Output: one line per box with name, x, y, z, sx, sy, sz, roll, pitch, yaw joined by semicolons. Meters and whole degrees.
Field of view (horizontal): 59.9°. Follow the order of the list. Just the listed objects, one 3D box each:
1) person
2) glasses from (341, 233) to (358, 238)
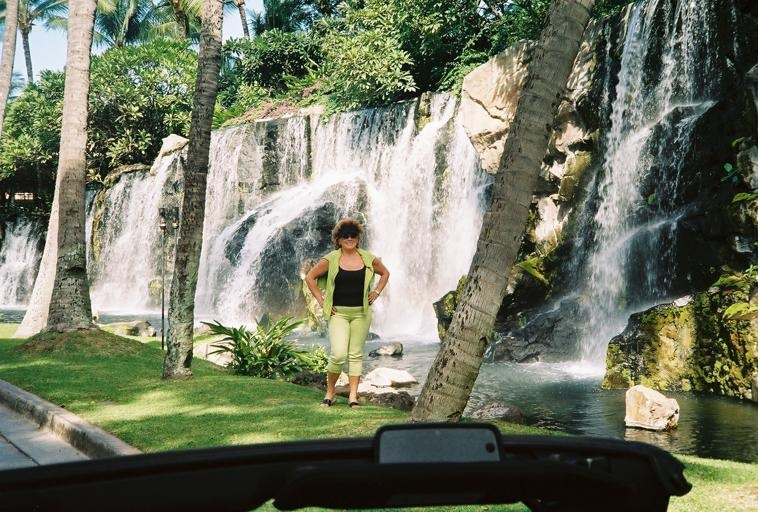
person;-0.449;0.785;8.906;1.014;2.554;0.820;5;-3;1
glasses;-0.386;-0.266;8.620;0.181;0.083;0.046;6;-3;4
